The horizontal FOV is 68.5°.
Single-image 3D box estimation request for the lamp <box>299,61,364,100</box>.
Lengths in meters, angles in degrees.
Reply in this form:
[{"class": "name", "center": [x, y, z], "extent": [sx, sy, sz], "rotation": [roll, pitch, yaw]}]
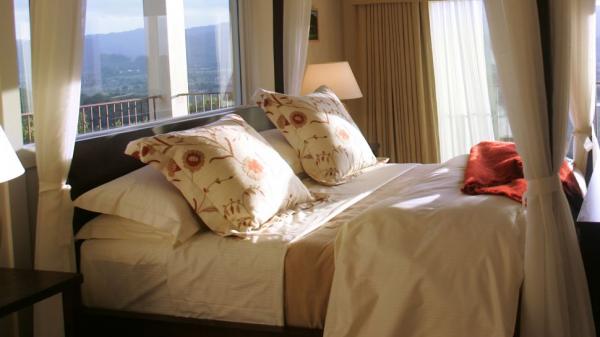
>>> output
[{"class": "lamp", "center": [0.360, -0.914, 4.920], "extent": [0.510, 0.330, 0.500], "rotation": [-4, 8, 7]}]
